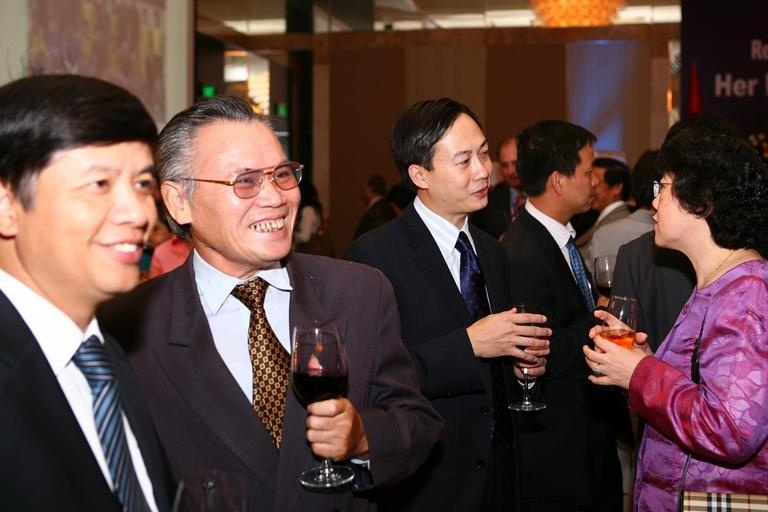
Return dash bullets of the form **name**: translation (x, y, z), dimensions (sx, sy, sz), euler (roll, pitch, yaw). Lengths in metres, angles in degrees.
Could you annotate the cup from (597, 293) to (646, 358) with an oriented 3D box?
- **cup**: translation (0.985, 0.298, 2.680), dimensions (0.127, 0.221, 0.127), euler (-2, 9, 0)
